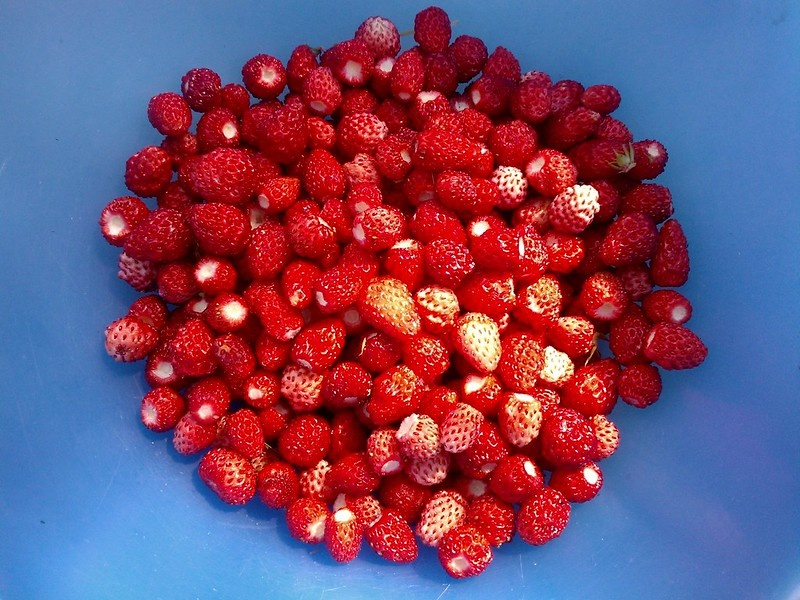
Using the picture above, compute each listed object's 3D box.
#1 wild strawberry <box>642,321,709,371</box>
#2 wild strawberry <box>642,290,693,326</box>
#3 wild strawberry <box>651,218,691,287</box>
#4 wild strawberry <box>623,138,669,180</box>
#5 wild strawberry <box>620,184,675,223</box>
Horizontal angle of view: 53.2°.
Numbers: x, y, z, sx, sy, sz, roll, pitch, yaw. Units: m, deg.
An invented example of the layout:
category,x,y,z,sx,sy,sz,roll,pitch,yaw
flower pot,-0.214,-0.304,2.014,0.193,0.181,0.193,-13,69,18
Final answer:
category,x,y,z,sx,sy,sz,roll,pitch,yaw
wild strawberry,0.601,0.101,1.767,0.113,0.073,0.098,18,87,0
wild strawberry,0.602,-0.003,1.810,0.086,0.069,0.077,17,109,28
wild strawberry,0.608,-0.109,1.799,0.075,0.060,0.154,2,94,6
wild strawberry,0.575,-0.333,1.906,0.093,0.069,0.082,-14,81,-45
wild strawberry,0.568,-0.229,1.838,0.097,0.099,0.091,12,51,17
